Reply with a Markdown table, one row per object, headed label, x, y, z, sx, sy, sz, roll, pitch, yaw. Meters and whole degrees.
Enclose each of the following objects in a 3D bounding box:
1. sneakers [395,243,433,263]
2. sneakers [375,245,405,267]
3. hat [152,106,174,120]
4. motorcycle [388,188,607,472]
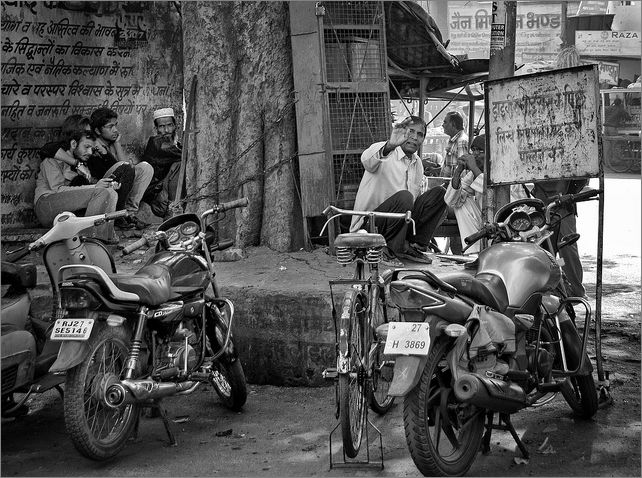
| label | x | y | z | sx | sy | sz | roll | pitch | yaw |
| --- | --- | --- | --- | --- | --- | --- | --- | --- | --- |
| sneakers | 1.063 | 0.180 | 7.769 | 0.428 | 0.211 | 0.176 | 5 | 8 | -10 |
| sneakers | 0.758 | 0.185 | 7.493 | 0.158 | 0.241 | 0.546 | 3 | 2 | 19 |
| hat | -2.198 | -1.737 | 9.505 | 0.296 | 0.156 | 0.289 | -1 | 9 | 11 |
| motorcycle | 1.202 | 0.683 | 4.903 | 1.955 | 1.761 | 0.709 | -10 | 12 | -41 |
